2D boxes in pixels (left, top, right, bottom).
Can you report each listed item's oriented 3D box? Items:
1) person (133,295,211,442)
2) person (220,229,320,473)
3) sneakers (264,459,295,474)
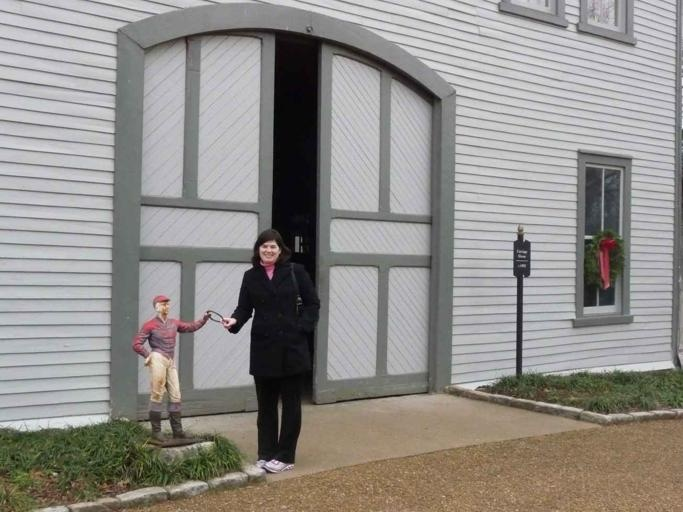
[{"bbox_3d":[-1.545,0.972,7.121,0.599,1.258,0.333,1,6,-15],"label":"person"},{"bbox_3d":[-0.622,0.844,7.289,0.786,2.154,0.517,2,6,-2],"label":"person"},{"bbox_3d":[-0.568,1.905,7.287,0.266,0.112,0.096,16,-5,-35],"label":"sneakers"}]
